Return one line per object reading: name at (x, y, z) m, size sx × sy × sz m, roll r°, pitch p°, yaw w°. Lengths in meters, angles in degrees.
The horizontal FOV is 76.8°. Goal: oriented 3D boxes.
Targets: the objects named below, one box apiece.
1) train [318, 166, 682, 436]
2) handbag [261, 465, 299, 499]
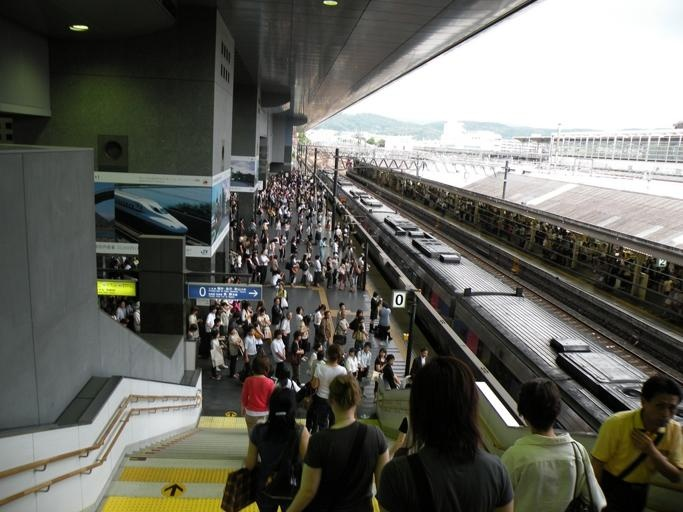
train at (3.158, -0.362, 21.242) m, size 1.901 × 2.448 × 28.655 m, roll 2°, pitch 10°, yaw -10°
handbag at (-0.416, 1.618, 3.196) m, size 0.327 × 0.191 × 0.336 m, roll -4°, pitch -6°, yaw -4°
